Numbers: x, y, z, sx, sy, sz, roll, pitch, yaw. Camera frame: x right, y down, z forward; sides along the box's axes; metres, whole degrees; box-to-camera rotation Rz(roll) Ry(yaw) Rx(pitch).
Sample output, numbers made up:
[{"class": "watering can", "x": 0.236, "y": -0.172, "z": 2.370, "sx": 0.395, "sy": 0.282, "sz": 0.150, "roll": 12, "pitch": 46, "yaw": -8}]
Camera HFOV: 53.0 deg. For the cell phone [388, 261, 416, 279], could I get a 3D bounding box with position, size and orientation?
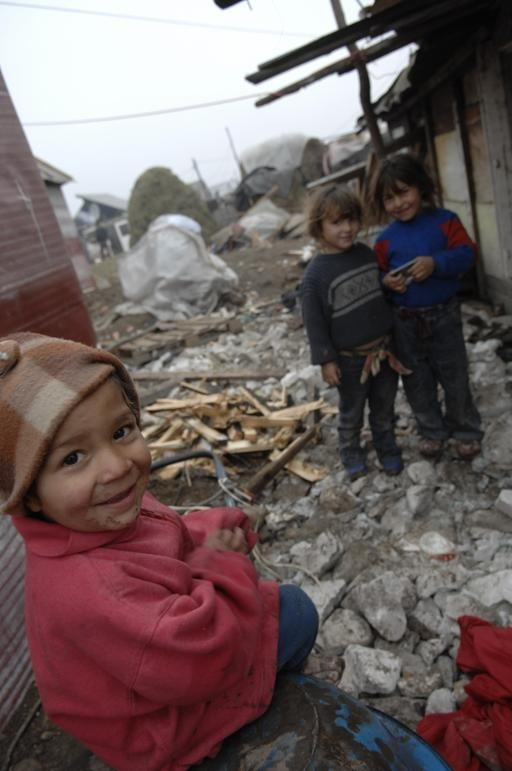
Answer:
[{"class": "cell phone", "x": 0.746, "y": -0.591, "z": 2.647, "sx": 0.087, "sy": 0.024, "sz": 0.095, "roll": -21, "pitch": -15, "yaw": 28}]
